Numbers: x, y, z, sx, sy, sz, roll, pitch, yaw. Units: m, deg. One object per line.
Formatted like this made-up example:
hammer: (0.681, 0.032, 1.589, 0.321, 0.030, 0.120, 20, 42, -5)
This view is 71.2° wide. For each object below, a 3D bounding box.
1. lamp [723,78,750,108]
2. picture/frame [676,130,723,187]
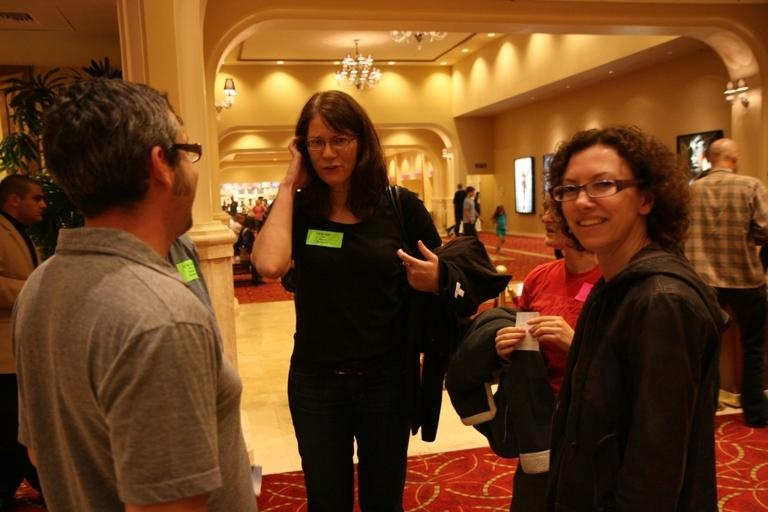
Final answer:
lamp: (5.131, -2.383, 7.928, 0.187, 0.443, 0.366, -6, 4, -9)
picture/frame: (6.211, -1.962, 10.693, 1.076, 1.021, 0.031, -7, 6, -14)
